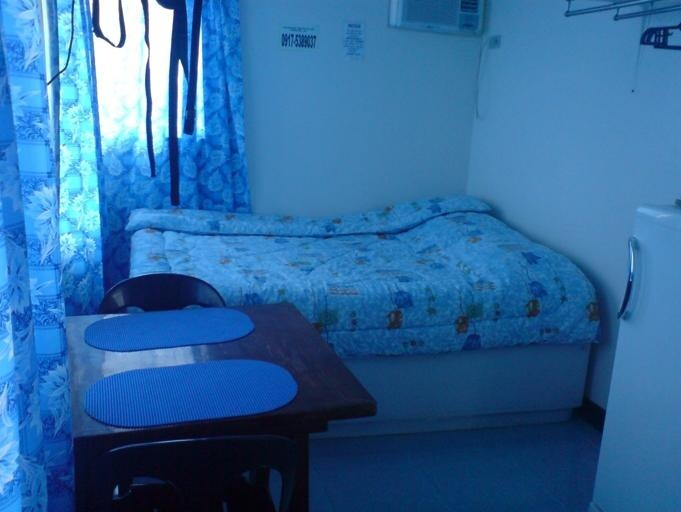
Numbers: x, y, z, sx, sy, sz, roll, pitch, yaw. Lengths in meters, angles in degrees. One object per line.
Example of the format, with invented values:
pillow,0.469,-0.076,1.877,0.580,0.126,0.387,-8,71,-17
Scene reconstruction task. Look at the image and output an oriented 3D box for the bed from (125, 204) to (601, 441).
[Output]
bed,0.326,0.242,2.591,1.598,0.546,1.613,-2,21,-8
